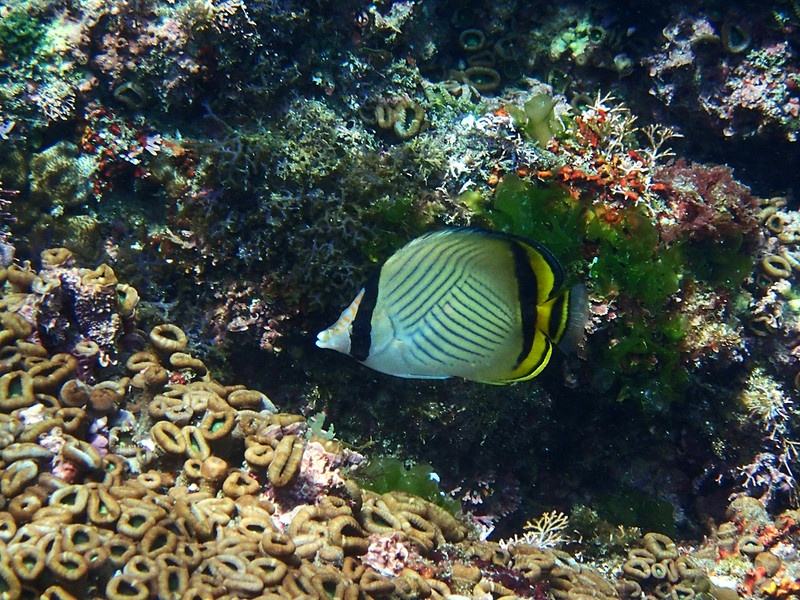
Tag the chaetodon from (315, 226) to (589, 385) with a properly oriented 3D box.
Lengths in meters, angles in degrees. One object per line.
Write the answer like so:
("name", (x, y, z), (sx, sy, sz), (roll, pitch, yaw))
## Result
("chaetodon", (0.505, 0.466, 7.947), (2.579, 1.412, 2.034), (3, 101, -9))
